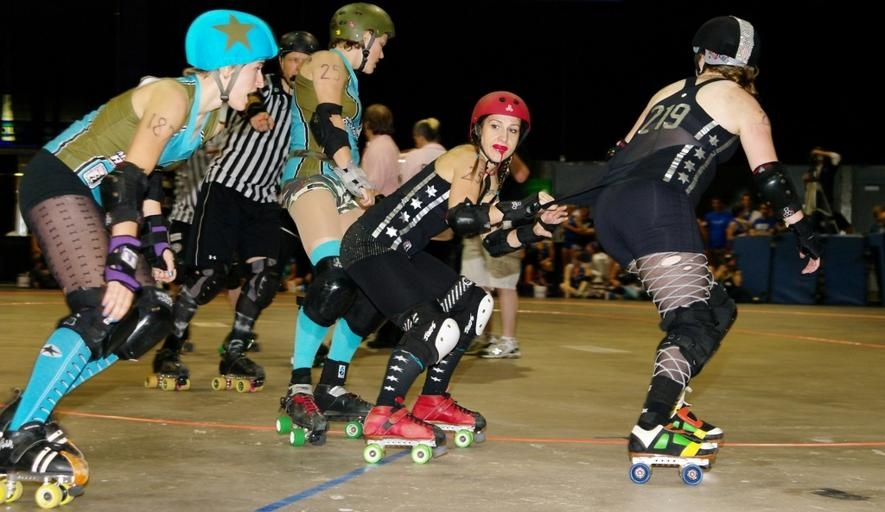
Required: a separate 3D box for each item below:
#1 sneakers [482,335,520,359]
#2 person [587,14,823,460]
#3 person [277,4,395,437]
[{"bbox_3d":[0.542,0.844,7.733,0.377,0.181,0.165,-1,0,5],"label":"sneakers"},{"bbox_3d":[1.426,0.041,4.854,1.125,2.483,0.419,4,0,11],"label":"person"},{"bbox_3d":[-0.762,-0.309,5.687,0.970,2.754,1.273,1,0,-14],"label":"person"}]
